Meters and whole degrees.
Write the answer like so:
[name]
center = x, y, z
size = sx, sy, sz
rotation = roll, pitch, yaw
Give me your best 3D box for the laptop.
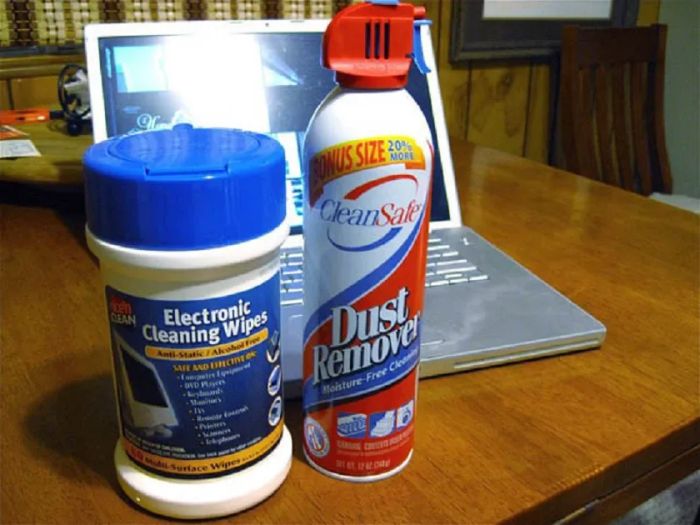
[laptop]
center = -0.041, -0.058, 0.637
size = 0.447, 0.260, 0.434
rotation = -8, 37, -19
